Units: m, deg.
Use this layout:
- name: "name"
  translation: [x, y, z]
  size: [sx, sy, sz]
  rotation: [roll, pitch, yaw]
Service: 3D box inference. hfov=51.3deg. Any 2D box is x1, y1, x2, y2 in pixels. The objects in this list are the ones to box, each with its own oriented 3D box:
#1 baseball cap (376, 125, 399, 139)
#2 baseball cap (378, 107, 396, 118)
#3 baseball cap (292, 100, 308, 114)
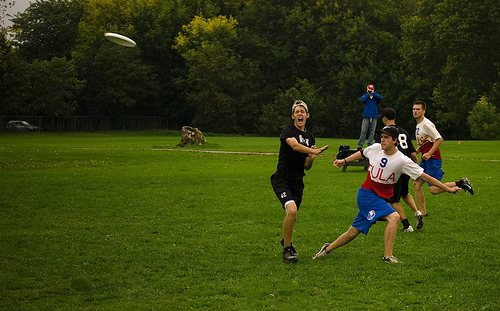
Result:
- name: "baseball cap"
  translation: [3.729, -0.660, 13.983]
  size: [0.507, 0.251, 0.307]
  rotation: [21, 3, -9]
- name: "baseball cap"
  translation: [4.316, -1.362, 16.441]
  size: [0.321, 0.276, 0.454]
  rotation: [-4, 5, -40]
- name: "baseball cap"
  translation: [1.366, -1.346, 14.413]
  size: [0.331, 0.396, 0.165]
  rotation: [-1, 5, 1]
